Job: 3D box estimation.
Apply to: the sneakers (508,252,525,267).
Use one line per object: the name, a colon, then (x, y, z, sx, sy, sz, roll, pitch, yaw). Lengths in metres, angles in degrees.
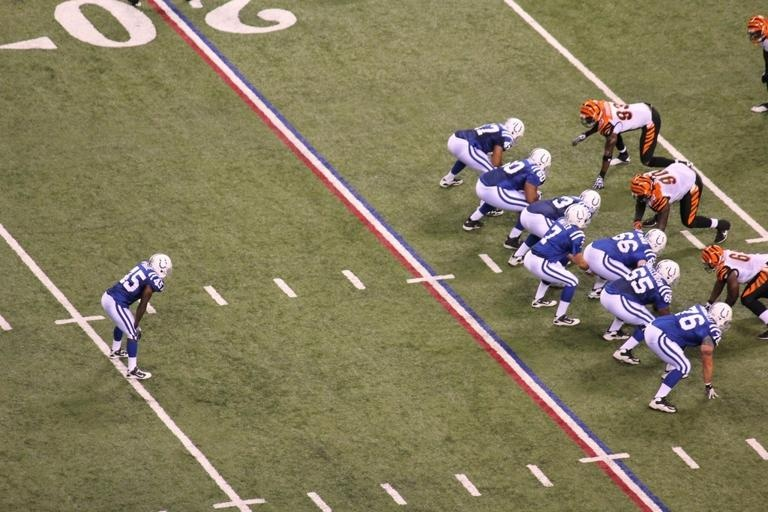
sneakers: (2.184, 0.058, 28.320, 0.133, 0.123, 0.329, 4, 15, 37)

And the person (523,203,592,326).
person: (2.820, 0.124, 27.590, 0.970, 1.675, 1.277, 5, 36, 21)

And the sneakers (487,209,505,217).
sneakers: (1.912, -0.752, 29.137, 0.317, 0.127, 0.090, -3, 56, -1)

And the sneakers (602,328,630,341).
sneakers: (3.706, 1.242, 27.284, 0.443, 0.173, 0.148, -4, 38, -2)

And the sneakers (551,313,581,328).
sneakers: (2.931, 1.015, 27.498, 0.473, 0.192, 0.166, -2, 29, -1)

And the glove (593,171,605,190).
glove: (3.722, -1.309, 29.501, 0.150, 0.244, 0.244, 41, 79, 12)

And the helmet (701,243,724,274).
helmet: (5.237, -0.001, 27.430, 0.425, 0.385, 0.312, -18, 35, 33)

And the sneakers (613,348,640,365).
sneakers: (3.928, 1.578, 26.994, 0.565, 0.272, 0.165, 7, 43, 3)

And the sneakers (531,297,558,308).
sneakers: (2.597, 0.727, 27.873, 0.484, 0.187, 0.154, -5, 25, -4)

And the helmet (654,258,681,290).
helmet: (4.565, 0.253, 26.932, 0.476, 0.387, 0.330, 10, 31, -30)

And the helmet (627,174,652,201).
helmet: (4.269, -1.169, 28.387, 0.347, 0.392, 0.366, -3, 67, 35)

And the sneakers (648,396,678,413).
sneakers: (4.322, 2.288, 26.422, 0.544, 0.253, 0.167, 8, 19, 1)

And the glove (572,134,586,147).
glove: (3.344, -2.013, 29.536, 0.152, 0.105, 0.347, -9, -4, -20)

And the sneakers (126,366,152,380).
sneakers: (-3.797, 1.787, 26.477, 0.434, 0.159, 0.140, 2, 40, -9)

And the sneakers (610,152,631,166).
sneakers: (4.170, -1.701, 29.963, 0.405, 0.252, 0.147, -5, 62, 14)

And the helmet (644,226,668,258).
helmet: (4.391, -0.220, 27.503, 0.349, 0.472, 0.362, -15, 34, -7)

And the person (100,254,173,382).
person: (-3.914, 0.914, 26.559, 0.858, 1.652, 1.283, 9, 38, 26)

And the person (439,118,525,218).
person: (1.714, -1.702, 29.401, 1.345, 1.505, 0.836, 17, 24, 16)

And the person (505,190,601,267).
person: (2.895, -0.355, 28.064, 2.000, 0.900, 0.844, -3, 78, 16)

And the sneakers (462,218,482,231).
sneakers: (1.487, -0.540, 28.828, 0.399, 0.170, 0.136, -8, 46, -13)

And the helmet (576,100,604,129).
helmet: (3.598, -2.433, 29.462, 0.395, 0.512, 0.448, -5, 34, 8)

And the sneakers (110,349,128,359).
sneakers: (-4.156, 1.499, 26.720, 0.336, 0.121, 0.127, -1, 25, -9)

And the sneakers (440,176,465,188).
sneakers: (1.150, -1.298, 29.590, 0.487, 0.165, 0.146, -6, 36, -16)

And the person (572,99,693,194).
person: (4.275, -1.989, 29.623, 2.266, 1.156, 1.181, 5, 25, 14)

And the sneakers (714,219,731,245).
sneakers: (5.674, -0.432, 28.663, 0.172, 0.457, 0.223, 30, 23, 38)
